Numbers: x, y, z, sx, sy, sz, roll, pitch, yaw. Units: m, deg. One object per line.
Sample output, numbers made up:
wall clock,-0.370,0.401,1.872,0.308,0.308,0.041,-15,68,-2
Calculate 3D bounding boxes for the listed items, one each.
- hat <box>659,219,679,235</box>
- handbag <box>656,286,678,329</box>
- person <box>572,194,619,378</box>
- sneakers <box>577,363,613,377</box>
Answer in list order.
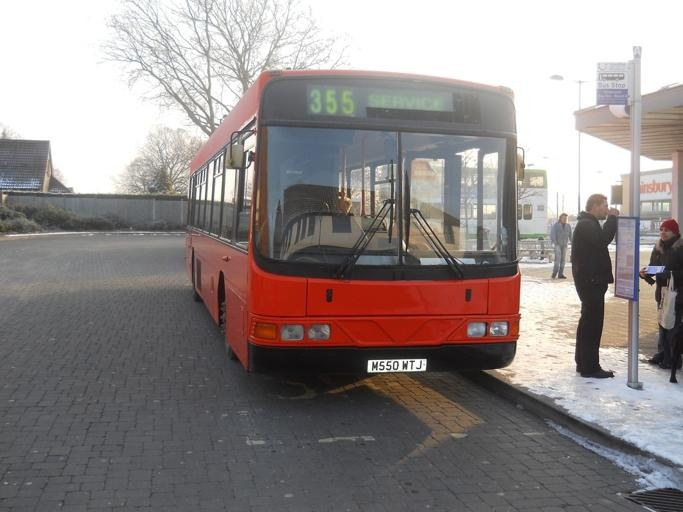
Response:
hat,4.485,-0.391,7.320,0.201,0.216,0.357,4,4,37
handbag,4.064,0.635,6.673,0.163,0.512,0.357,3,4,27
person,3.207,0.365,6.837,0.508,2.295,0.386,2,3,16
sneakers,3.226,1.462,6.829,0.461,0.215,0.163,-3,8,-2
